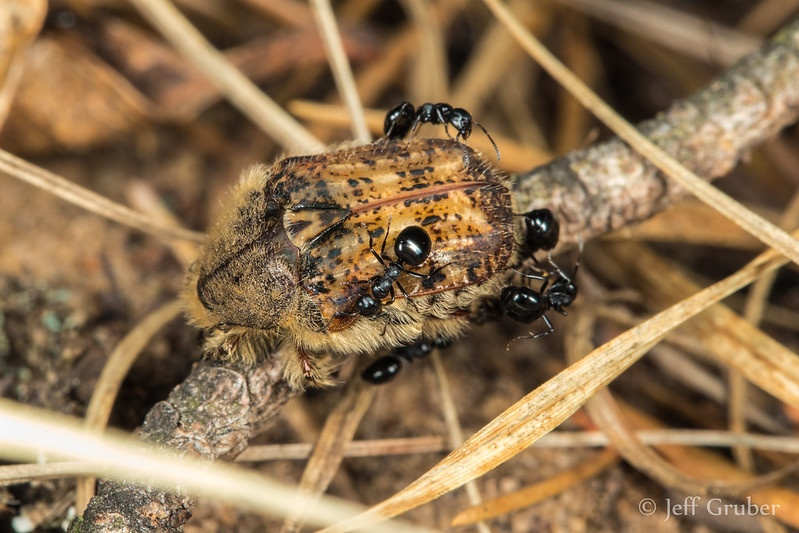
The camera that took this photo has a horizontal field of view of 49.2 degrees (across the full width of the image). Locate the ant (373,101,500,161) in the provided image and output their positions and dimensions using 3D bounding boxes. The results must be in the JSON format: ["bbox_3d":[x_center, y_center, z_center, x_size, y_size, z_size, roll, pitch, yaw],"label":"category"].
[{"bbox_3d":[0.290,-1.034,6.354,0.819,0.565,0.293,5,91,8],"label":"ant"}]

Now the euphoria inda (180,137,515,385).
[{"bbox_3d":[-0.360,-0.215,5.877,2.302,0.723,1.622,-24,60,-7],"label":"euphoria inda"}]
